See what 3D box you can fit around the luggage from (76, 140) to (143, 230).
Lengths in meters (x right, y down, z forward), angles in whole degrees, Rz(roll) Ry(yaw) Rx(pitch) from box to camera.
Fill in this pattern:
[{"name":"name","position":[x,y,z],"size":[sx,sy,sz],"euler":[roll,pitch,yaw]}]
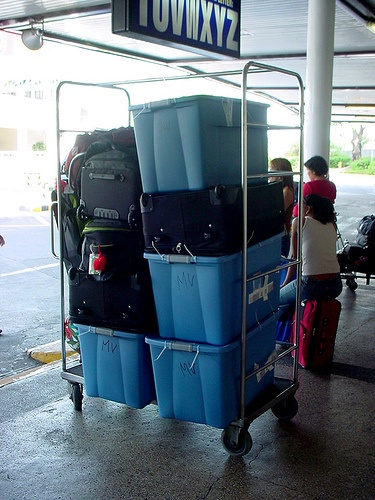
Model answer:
[{"name":"luggage","position":[-0.538,-0.386,2.577],"size":[0.366,0.476,0.306],"euler":[0,1,-32]}]

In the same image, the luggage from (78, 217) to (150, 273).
[{"name":"luggage","position":[-0.429,-0.011,2.658],"size":[0.473,0.408,0.446],"euler":[-2,-8,-19]}]

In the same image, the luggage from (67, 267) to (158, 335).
[{"name":"luggage","position":[-0.446,0.266,2.675],"size":[0.536,0.329,0.348],"euler":[1,4,12]}]

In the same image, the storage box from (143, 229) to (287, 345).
[{"name":"storage box","position":[0.215,0.213,2.576],"size":[0.588,0.450,0.900],"euler":[0,5,39]}]

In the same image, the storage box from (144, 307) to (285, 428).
[{"name":"storage box","position":[0.197,0.686,2.647],"size":[0.609,0.442,0.870],"euler":[-3,3,37]}]

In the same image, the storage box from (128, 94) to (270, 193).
[{"name":"storage box","position":[0.092,-0.554,2.357],"size":[0.473,0.445,0.684],"euler":[5,13,39]}]

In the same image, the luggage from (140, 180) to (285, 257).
[{"name":"luggage","position":[0.238,-0.192,2.333],"size":[0.391,0.251,0.642],"euler":[5,13,40]}]

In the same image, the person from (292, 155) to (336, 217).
[{"name":"person","position":[1.514,-0.601,5.009],"size":[0.342,0.989,0.303],"euler":[-4,36,2]}]

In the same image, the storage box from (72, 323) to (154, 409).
[{"name":"storage box","position":[-0.416,0.715,2.735],"size":[0.478,0.462,0.381],"euler":[3,2,28]}]
